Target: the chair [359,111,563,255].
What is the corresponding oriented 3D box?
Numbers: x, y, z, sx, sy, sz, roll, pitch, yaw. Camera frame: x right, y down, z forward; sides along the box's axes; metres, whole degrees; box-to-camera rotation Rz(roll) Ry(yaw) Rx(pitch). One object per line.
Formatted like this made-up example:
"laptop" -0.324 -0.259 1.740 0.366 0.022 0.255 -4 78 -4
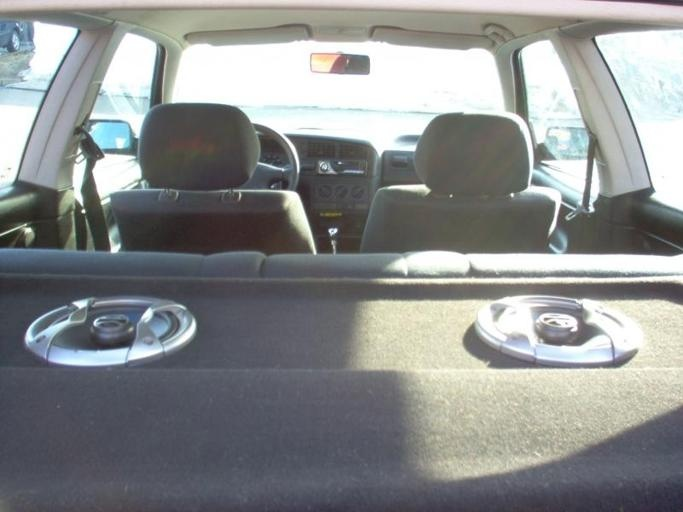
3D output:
"chair" 0.495 -0.304 2.562 0.545 0.617 0.576 0 34 2
